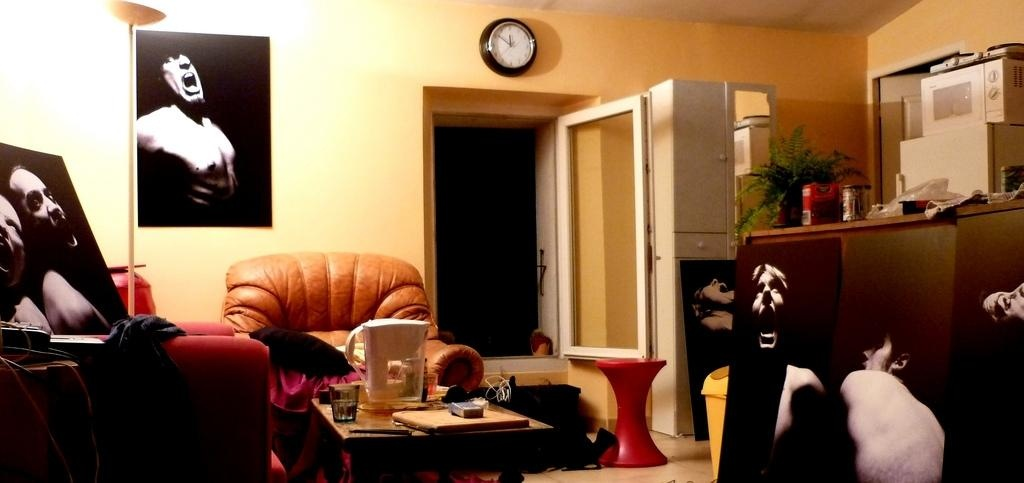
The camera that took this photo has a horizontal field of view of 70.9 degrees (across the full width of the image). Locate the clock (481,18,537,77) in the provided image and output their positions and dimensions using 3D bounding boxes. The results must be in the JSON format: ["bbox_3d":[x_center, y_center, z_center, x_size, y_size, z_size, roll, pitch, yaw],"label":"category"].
[{"bbox_3d":[0.002,-1.989,7.243,0.570,0.511,0.132,3,22,34],"label":"clock"}]

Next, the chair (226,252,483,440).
[{"bbox_3d":[-1.693,0.794,6.590,2.024,1.041,1.421,3,-6,-19],"label":"chair"}]

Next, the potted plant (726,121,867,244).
[{"bbox_3d":[1.990,-0.440,5.188,0.799,0.681,0.497,-3,-2,22],"label":"potted plant"}]

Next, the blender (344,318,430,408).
[{"bbox_3d":[-0.771,0.764,4.463,0.553,0.480,0.343,4,-11,-18],"label":"blender"}]

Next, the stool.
[{"bbox_3d":[0.794,1.473,6.401,0.922,0.884,0.811,0,1,-6],"label":"stool"}]
